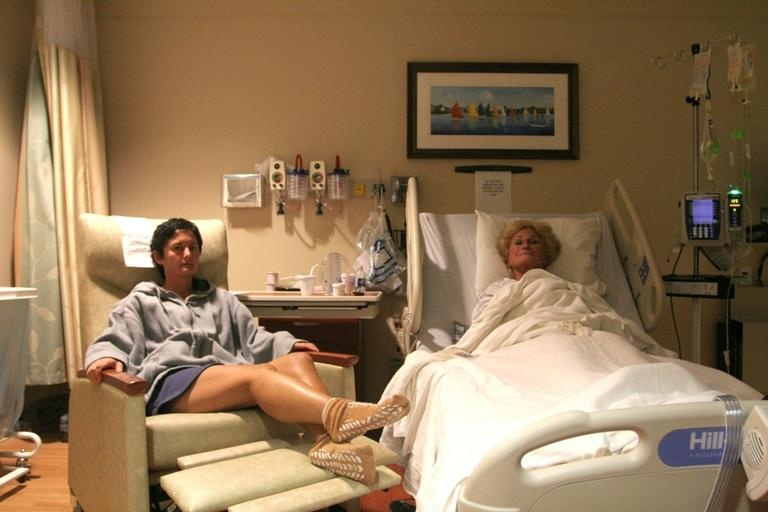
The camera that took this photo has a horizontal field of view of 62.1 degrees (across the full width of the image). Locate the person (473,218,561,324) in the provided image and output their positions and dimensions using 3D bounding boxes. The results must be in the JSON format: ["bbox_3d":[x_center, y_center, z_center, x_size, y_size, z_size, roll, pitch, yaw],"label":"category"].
[{"bbox_3d":[0.944,0.118,4.227,0.743,0.746,0.344,-4,-31,18],"label":"person"}]

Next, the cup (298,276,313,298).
[{"bbox_3d":[-0.522,0.205,4.373,0.121,0.118,0.118,1,3,0],"label":"cup"}]

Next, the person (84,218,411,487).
[{"bbox_3d":[-0.739,0.470,3.439,1.910,1.149,1.222,6,4,34],"label":"person"}]
